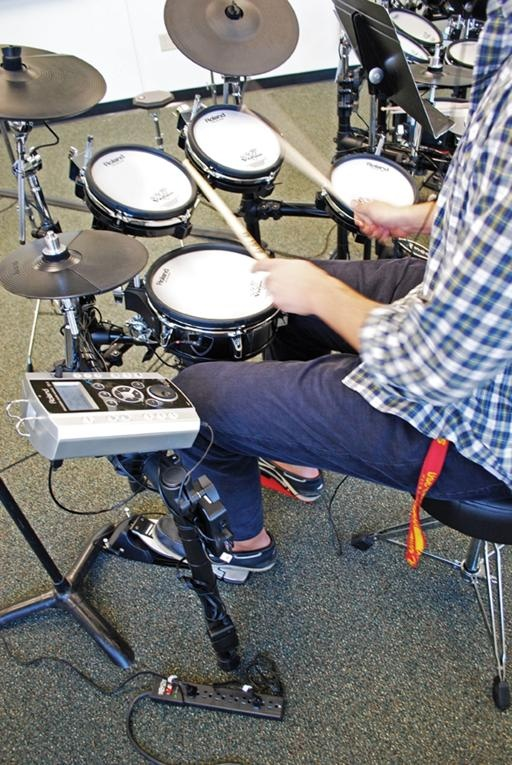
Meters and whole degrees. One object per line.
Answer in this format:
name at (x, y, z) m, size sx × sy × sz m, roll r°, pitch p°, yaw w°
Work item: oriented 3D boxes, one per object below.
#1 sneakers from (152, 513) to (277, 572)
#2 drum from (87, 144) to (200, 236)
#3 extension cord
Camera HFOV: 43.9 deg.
sneakers at (-0.097, 0.340, 1.355) m, size 0.285 × 0.103 × 0.097 m, roll 9°, pitch 41°, yaw 15°
drum at (-0.258, -0.434, 1.433) m, size 0.206 × 0.180 × 0.290 m, roll -16°, pitch 38°, yaw -25°
extension cord at (-0.069, 0.571, 1.150) m, size 0.237 × 0.039 × 0.042 m, roll 3°, pitch 44°, yaw 7°
